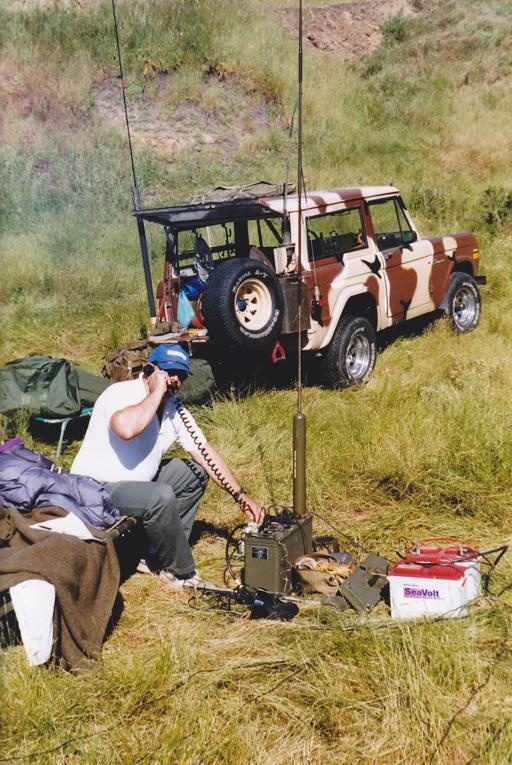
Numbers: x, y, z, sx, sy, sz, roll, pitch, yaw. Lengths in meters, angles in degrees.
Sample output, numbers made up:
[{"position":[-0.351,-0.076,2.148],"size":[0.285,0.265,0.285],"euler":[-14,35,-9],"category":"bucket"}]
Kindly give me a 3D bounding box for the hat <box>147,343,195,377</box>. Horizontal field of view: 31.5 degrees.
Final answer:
[{"position":[-0.439,-0.129,4.696],"size":[0.147,0.115,0.195],"euler":[17,1,-37],"category":"hat"}]

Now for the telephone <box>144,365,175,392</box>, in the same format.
[{"position":[-0.506,-0.012,4.635],"size":[0.139,0.143,0.053],"euler":[24,49,4],"category":"telephone"}]

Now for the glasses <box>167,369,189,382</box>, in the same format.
[{"position":[-0.408,-0.040,4.711],"size":[0.088,0.066,0.144],"euler":[4,5,-15],"category":"glasses"}]

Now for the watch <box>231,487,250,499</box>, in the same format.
[{"position":[-0.089,0.585,4.809],"size":[0.048,0.030,0.082],"euler":[-30,15,-25],"category":"watch"}]

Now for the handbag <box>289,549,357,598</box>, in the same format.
[{"position":[0.321,0.945,4.459],"size":[0.252,0.154,0.323],"euler":[0,-1,6],"category":"handbag"}]

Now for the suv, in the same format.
[{"position":[0.359,-0.910,7.942],"size":[1.488,1.477,2.944],"euler":[11,25,40],"category":"suv"}]

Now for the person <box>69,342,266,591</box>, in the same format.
[{"position":[-0.724,0.377,5.151],"size":[1.311,1.693,0.912],"euler":[3,5,19],"category":"person"}]
